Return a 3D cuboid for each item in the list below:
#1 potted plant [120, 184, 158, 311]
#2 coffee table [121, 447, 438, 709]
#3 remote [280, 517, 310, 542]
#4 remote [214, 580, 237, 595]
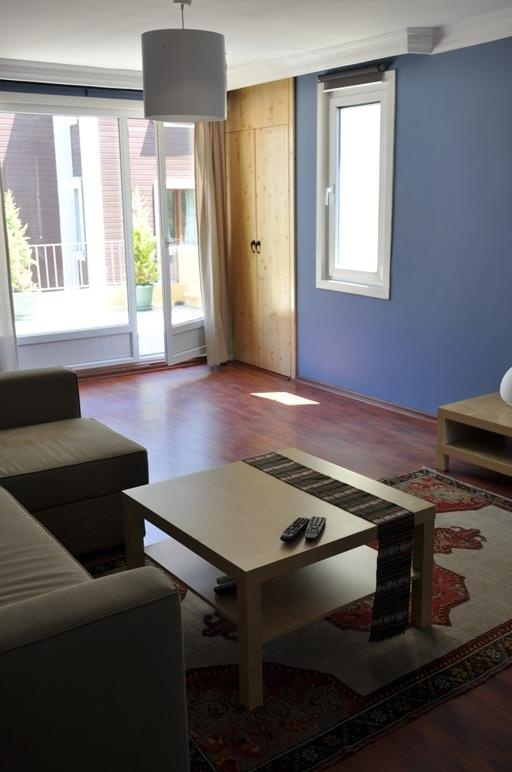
[{"bbox_3d":[-1.187,-1.390,5.952,0.409,1.132,0.353,-5,5,-41],"label":"potted plant"},{"bbox_3d":[-0.039,0.455,1.852,0.653,0.385,0.693,-12,21,-34],"label":"coffee table"},{"bbox_3d":[0.106,0.400,1.653,0.033,0.031,0.111,7,20,23],"label":"remote"},{"bbox_3d":[-0.088,0.595,1.696,0.063,0.023,0.039,-9,15,-37],"label":"remote"}]
